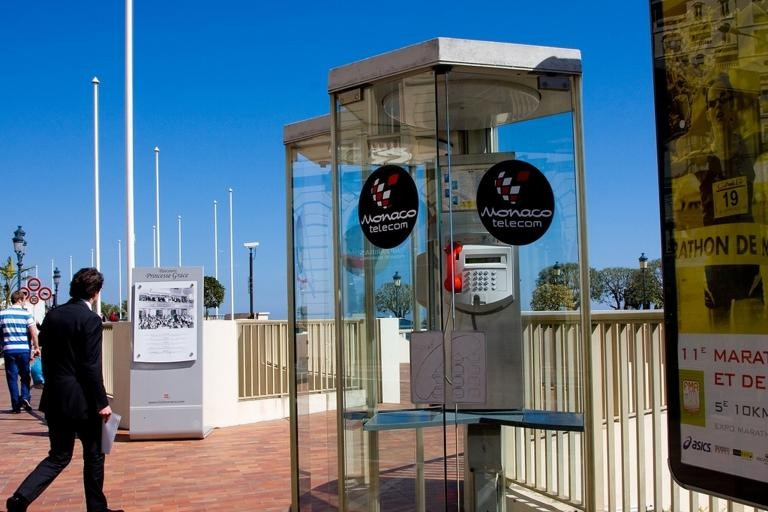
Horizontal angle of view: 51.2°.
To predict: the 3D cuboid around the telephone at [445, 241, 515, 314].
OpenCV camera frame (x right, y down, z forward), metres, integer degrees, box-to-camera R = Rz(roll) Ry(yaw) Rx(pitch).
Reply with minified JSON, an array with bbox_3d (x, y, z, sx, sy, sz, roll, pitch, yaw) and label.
[{"bbox_3d":[0.676,0.165,5.573,0.516,0.439,0.112,-2,-1,-20],"label":"telephone"}]
